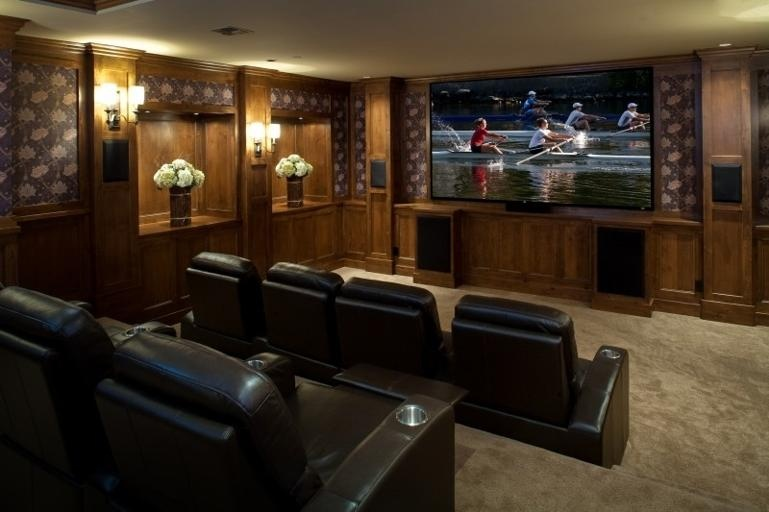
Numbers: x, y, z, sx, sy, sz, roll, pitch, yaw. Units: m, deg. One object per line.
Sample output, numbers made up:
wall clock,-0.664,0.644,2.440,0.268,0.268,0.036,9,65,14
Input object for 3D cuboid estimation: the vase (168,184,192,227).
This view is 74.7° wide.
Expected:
vase,-2.722,-0.658,6.684,0.278,0.505,0.265,-6,14,-24

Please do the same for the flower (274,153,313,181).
flower,-1.488,-1.405,8.233,0.461,0.331,0.474,-2,5,-18

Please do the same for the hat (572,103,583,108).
hat,2.731,-2.101,7.131,0.092,0.049,0.066,-12,19,11

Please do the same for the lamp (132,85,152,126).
lamp,-2.965,-1.806,6.068,0.186,0.444,0.308,-6,14,-25

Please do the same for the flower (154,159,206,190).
flower,-2.723,-1.038,6.626,0.483,0.352,0.459,3,7,22

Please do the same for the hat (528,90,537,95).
hat,2.171,-2.371,7.393,0.090,0.082,0.029,14,8,15

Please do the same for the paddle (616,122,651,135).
paddle,3.374,-1.740,6.834,0.366,0.167,0.079,4,13,16

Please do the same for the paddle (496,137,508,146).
paddle,1.807,-1.737,7.716,0.159,0.145,0.043,3,3,32

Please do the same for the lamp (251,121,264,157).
lamp,-1.839,-1.651,7.298,0.205,0.497,0.104,-12,17,-41

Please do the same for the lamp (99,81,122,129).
lamp,-3.164,-1.693,5.792,0.248,0.497,0.206,-8,15,-31

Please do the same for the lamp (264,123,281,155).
lamp,-1.685,-1.760,7.611,0.176,0.424,0.428,0,13,1
